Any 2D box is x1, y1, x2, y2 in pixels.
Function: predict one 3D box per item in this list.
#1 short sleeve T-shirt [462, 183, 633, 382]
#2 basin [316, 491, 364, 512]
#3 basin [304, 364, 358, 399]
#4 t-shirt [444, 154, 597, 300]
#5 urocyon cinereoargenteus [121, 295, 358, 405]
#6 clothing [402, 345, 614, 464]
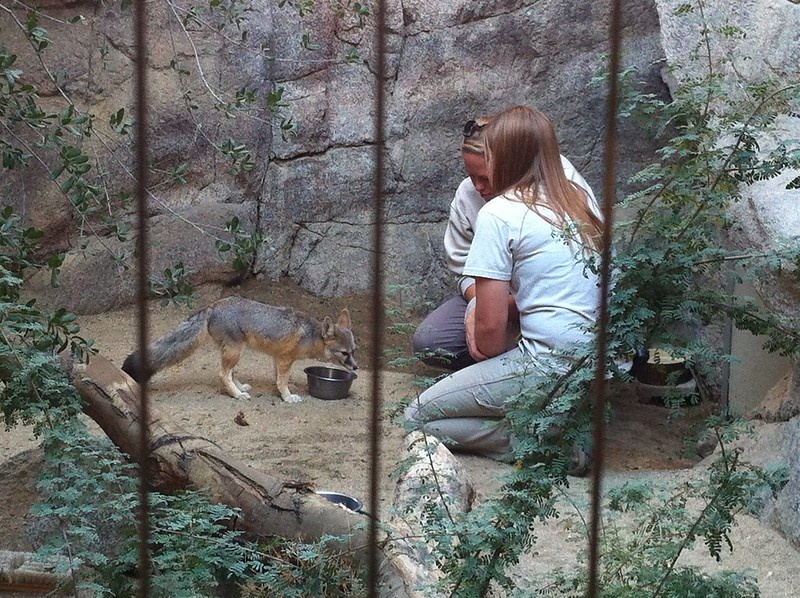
[{"bbox_3d":[0.744,-0.068,5.320,0.885,0.857,0.553,-16,27,25],"label":"short sleeve T-shirt"},{"bbox_3d":[-0.317,1.055,5.453,0.206,0.079,0.143,9,1,11],"label":"basin"},{"bbox_3d":[-0.506,0.608,7.564,0.341,0.262,0.407,5,-10,-37],"label":"basin"},{"bbox_3d":[0.666,-0.382,5.814,0.782,0.716,0.463,-25,10,6],"label":"t-shirt"},{"bbox_3d":[-1.025,0.361,7.568,1.534,0.754,0.503,2,-8,-17],"label":"urocyon cinereoargenteus"},{"bbox_3d":[0.547,0.515,6.269,1.221,0.714,0.482,-3,-50,-25],"label":"clothing"}]
